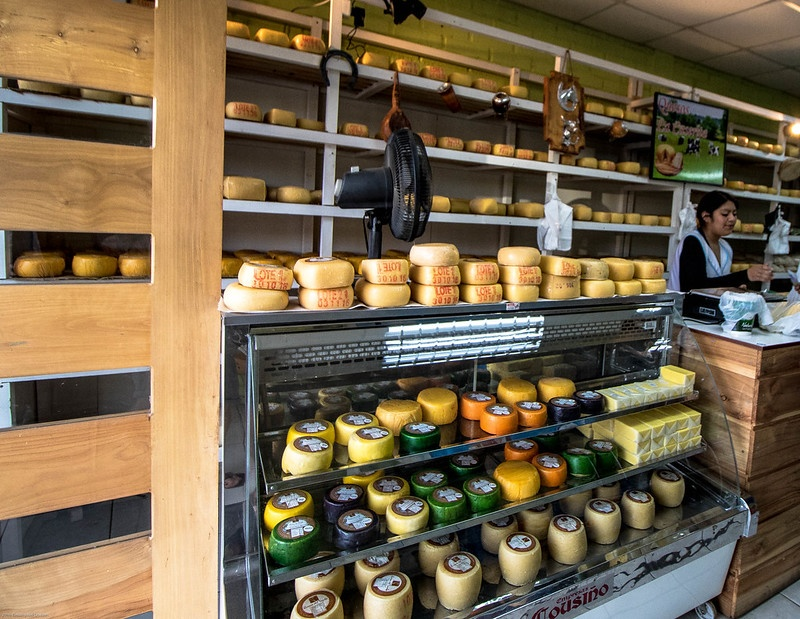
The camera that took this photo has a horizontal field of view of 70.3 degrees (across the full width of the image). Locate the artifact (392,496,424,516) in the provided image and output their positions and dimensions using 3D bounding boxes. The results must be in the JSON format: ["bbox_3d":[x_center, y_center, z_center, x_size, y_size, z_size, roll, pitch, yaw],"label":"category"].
[{"bbox_3d":[0.029,0.604,1.737,0.059,0.011,0.056,-3,5,-35],"label":"artifact"}]

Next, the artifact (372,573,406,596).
[{"bbox_3d":[-0.027,0.821,1.687,0.096,0.045,0.061,-5,3,-6],"label":"artifact"}]

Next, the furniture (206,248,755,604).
[{"bbox_3d":[0.256,0.415,1.877,1.727,0.890,0.662,-4,9,-20],"label":"furniture"}]
